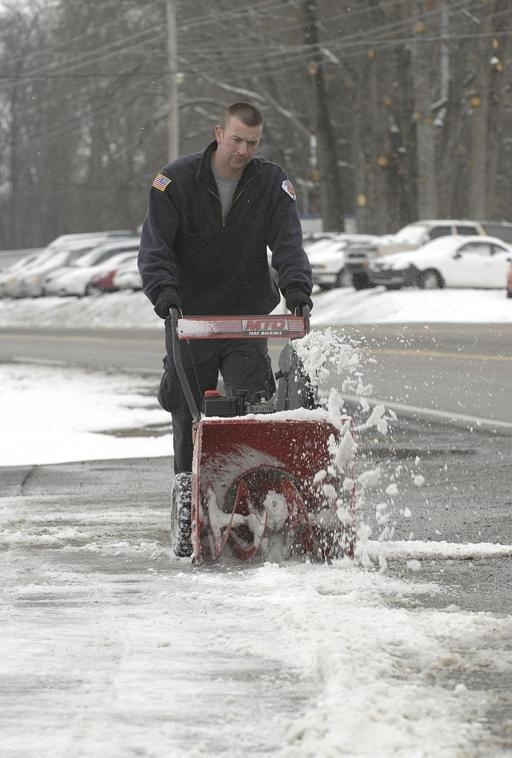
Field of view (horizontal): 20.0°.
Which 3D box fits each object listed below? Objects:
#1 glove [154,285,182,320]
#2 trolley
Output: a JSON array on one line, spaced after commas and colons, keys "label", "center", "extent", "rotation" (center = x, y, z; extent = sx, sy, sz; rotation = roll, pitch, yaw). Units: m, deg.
[{"label": "glove", "center": [-0.321, -0.302, 5.413], "extent": [0.039, 0.119, 0.076], "rotation": [29, -18, -31]}, {"label": "trolley", "center": [0.020, 0.194, 5.503], "extent": [0.684, 0.944, 0.550], "rotation": [-1, 6, -5]}]
